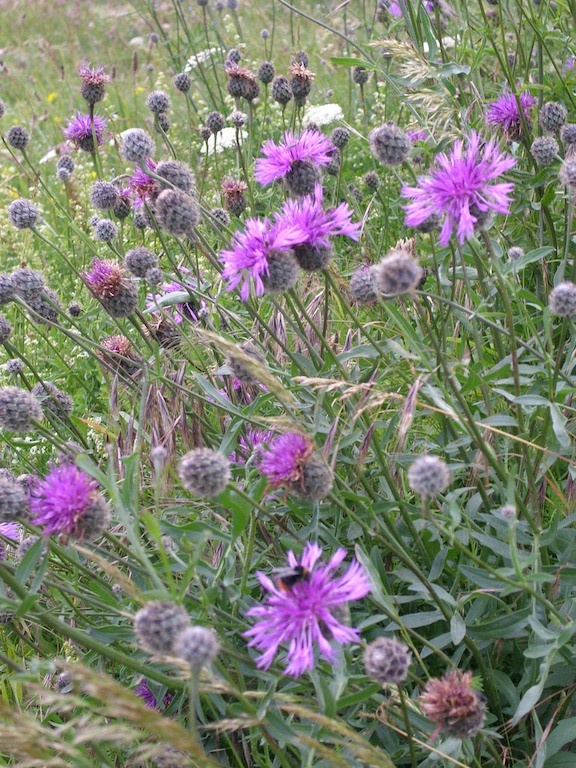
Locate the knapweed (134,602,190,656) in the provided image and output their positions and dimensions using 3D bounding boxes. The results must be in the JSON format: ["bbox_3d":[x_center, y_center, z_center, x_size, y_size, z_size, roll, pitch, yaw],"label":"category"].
[{"bbox_3d":[-0.219,0.448,1.462,0.107,0.092,0.096,0,71,-1],"label":"knapweed"}]

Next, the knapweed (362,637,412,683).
[{"bbox_3d":[0.182,0.502,1.506,0.082,0.084,0.091,-7,-1,-1],"label":"knapweed"}]
